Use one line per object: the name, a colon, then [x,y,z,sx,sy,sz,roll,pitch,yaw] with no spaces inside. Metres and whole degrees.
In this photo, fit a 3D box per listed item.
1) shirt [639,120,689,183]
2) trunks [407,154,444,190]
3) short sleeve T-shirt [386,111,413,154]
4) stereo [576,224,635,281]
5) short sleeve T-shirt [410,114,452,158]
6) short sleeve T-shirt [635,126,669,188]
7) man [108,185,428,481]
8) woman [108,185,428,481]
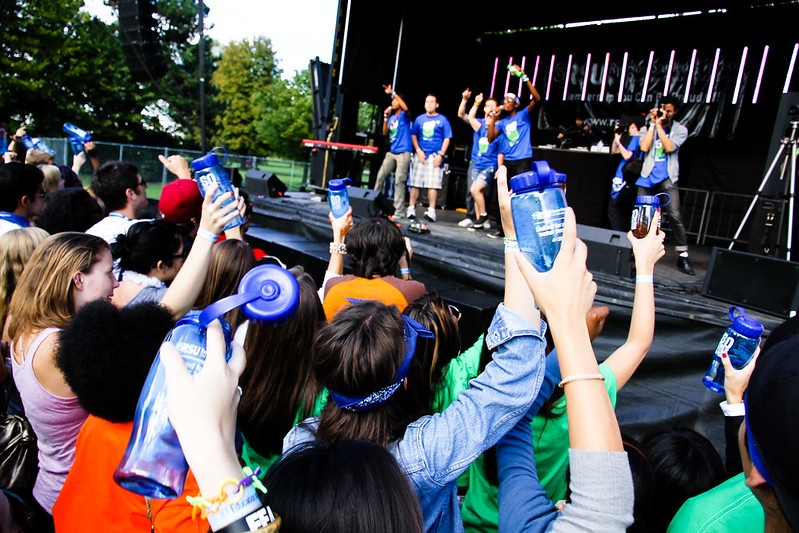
shirt: [2.820,-1.276,5.690,0.462,0.744,0.425,9,10,29]
trunks: [0.366,-1.426,7.639,0.556,0.775,0.332,6,7,37]
short sleeve T-shirt: [-0.002,-1.965,7.611,0.289,0.612,0.519,-1,10,-45]
stereo: [1.892,-0.161,4.846,0.628,0.450,0.425,7,17,37]
short sleeve T-shirt: [0.462,-1.948,7.614,0.606,0.639,0.301,8,24,14]
short sleeve T-shirt: [2.756,-1.144,5.667,0.131,0.462,0.304,-6,6,-36]
man: [-0.903,0.518,3.204,1.321,0.496,1.974,-6,17,-29]
woman: [-0.909,0.456,3.194,1.321,0.496,1.974,-6,17,-29]
